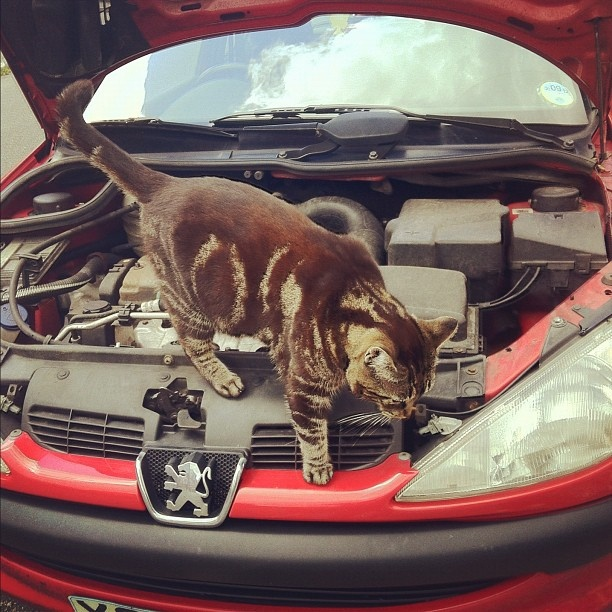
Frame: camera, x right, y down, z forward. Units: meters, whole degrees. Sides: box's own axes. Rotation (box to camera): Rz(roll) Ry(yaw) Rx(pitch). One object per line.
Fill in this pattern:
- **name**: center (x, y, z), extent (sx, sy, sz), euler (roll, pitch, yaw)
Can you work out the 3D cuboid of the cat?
- **cat**: center (-0.115, -0.083, 1.989), extent (0.870, 1.080, 0.258), euler (-3, 13, 32)
